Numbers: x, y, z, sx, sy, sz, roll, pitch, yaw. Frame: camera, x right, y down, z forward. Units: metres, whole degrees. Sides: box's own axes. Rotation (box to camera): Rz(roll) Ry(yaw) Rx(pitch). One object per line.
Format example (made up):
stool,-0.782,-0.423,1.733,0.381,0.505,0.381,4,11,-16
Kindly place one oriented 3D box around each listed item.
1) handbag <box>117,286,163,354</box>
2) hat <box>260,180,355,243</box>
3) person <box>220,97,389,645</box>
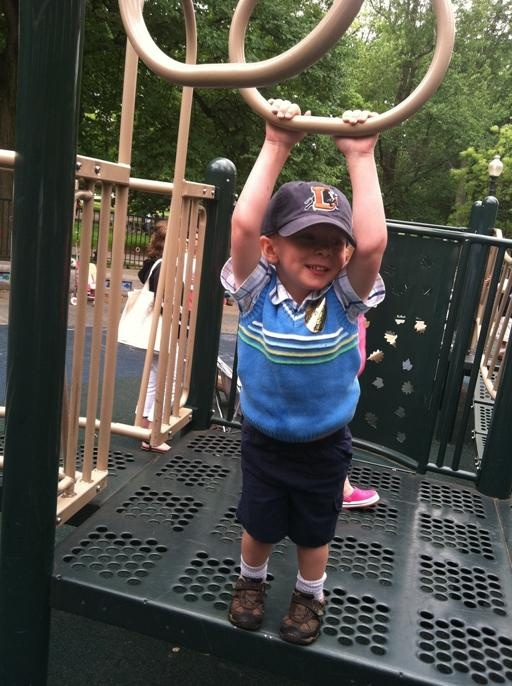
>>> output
handbag,-0.695,-0.142,3.243,0.183,0.342,0.444,4,10,-14
hat,0.125,-0.313,1.337,0.213,0.150,0.210,7,10,0
person,0.058,0.114,1.375,0.395,1.186,0.243,9,10,10
